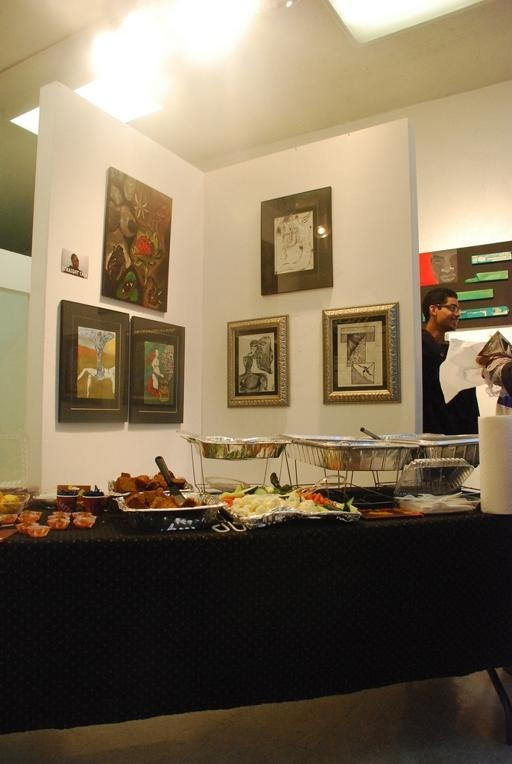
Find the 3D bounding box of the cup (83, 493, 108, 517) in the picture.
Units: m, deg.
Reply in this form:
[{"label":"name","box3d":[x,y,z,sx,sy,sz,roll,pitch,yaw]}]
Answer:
[{"label":"cup","box3d":[-0.410,0.313,1.430,0.046,0.039,0.048,-1,-4,0]}]

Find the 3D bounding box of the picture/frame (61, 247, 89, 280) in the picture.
[{"label":"picture/frame","box3d":[-0.981,-0.633,3.009,0.003,0.133,0.188,-1,-2,25]}]

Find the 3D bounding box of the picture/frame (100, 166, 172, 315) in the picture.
[{"label":"picture/frame","box3d":[-0.733,-0.847,3.461,0.068,0.808,0.588,-4,-10,28]}]

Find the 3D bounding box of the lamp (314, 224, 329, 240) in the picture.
[{"label":"lamp","box3d":[0.411,-0.942,3.551,0.082,0.085,0.030,10,8,35]}]

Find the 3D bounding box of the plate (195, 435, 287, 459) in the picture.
[{"label":"plate","box3d":[-0.059,0.230,1.969,0.320,0.069,0.180,1,-9,0]}]

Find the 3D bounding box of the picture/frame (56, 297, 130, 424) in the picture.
[{"label":"picture/frame","box3d":[-0.905,-0.110,3.051,0.043,0.925,0.643,-3,-5,31]}]

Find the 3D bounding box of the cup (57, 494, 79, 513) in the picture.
[{"label":"cup","box3d":[-0.482,0.308,1.432,0.039,0.037,0.042,1,-7,0]}]

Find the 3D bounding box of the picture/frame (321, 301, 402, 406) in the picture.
[{"label":"picture/frame","box3d":[0.639,-0.158,3.329,0.548,0.735,0.071,-3,-6,34]}]

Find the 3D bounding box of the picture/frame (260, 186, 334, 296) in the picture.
[{"label":"picture/frame","box3d":[0.275,-0.895,3.628,0.674,0.889,0.030,-2,-4,34]}]

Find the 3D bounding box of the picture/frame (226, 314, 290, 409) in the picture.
[{"label":"picture/frame","box3d":[0.024,-0.123,3.729,0.548,0.767,0.056,-4,-5,37]}]

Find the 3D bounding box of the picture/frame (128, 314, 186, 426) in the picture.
[{"label":"picture/frame","box3d":[-0.643,-0.069,3.526,0.032,0.795,0.656,-3,-5,25]}]

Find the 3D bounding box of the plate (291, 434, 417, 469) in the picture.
[{"label":"plate","box3d":[0.276,0.222,1.803,0.307,0.125,0.494,3,-10,-13]}]
